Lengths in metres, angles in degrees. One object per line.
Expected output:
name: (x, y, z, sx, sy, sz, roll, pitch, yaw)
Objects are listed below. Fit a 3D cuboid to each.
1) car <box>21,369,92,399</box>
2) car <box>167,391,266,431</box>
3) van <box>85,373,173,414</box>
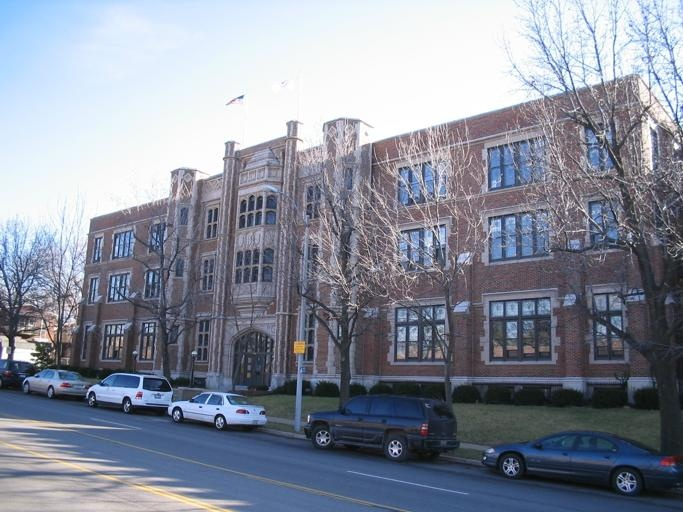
car: (-16.023, 7.268, 32.752, 4.130, 1.646, 1.271, -7, -17, 23)
car: (-5.541, 6.883, 25.609, 4.211, 1.620, 0.996, -7, -16, 21)
van: (-10.810, 6.920, 29.439, 3.969, 1.490, 2.074, -3, -13, 39)
